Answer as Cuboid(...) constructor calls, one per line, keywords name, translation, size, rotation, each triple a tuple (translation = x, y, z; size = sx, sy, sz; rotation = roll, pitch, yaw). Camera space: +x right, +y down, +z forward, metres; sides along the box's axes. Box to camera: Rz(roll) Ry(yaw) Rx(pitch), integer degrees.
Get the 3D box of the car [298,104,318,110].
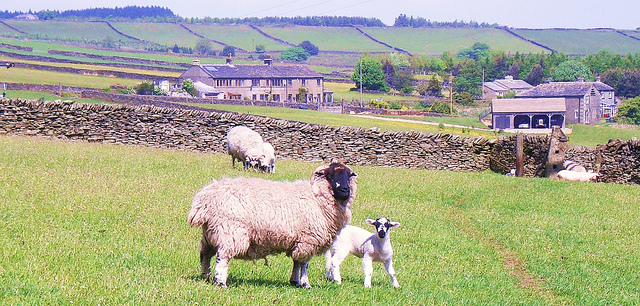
Cuboid(name="car", translation=(-5.705, -23.414, 441.079), size=(8.945, 2.187, 1.569), rotation=(1, 9, -23))
